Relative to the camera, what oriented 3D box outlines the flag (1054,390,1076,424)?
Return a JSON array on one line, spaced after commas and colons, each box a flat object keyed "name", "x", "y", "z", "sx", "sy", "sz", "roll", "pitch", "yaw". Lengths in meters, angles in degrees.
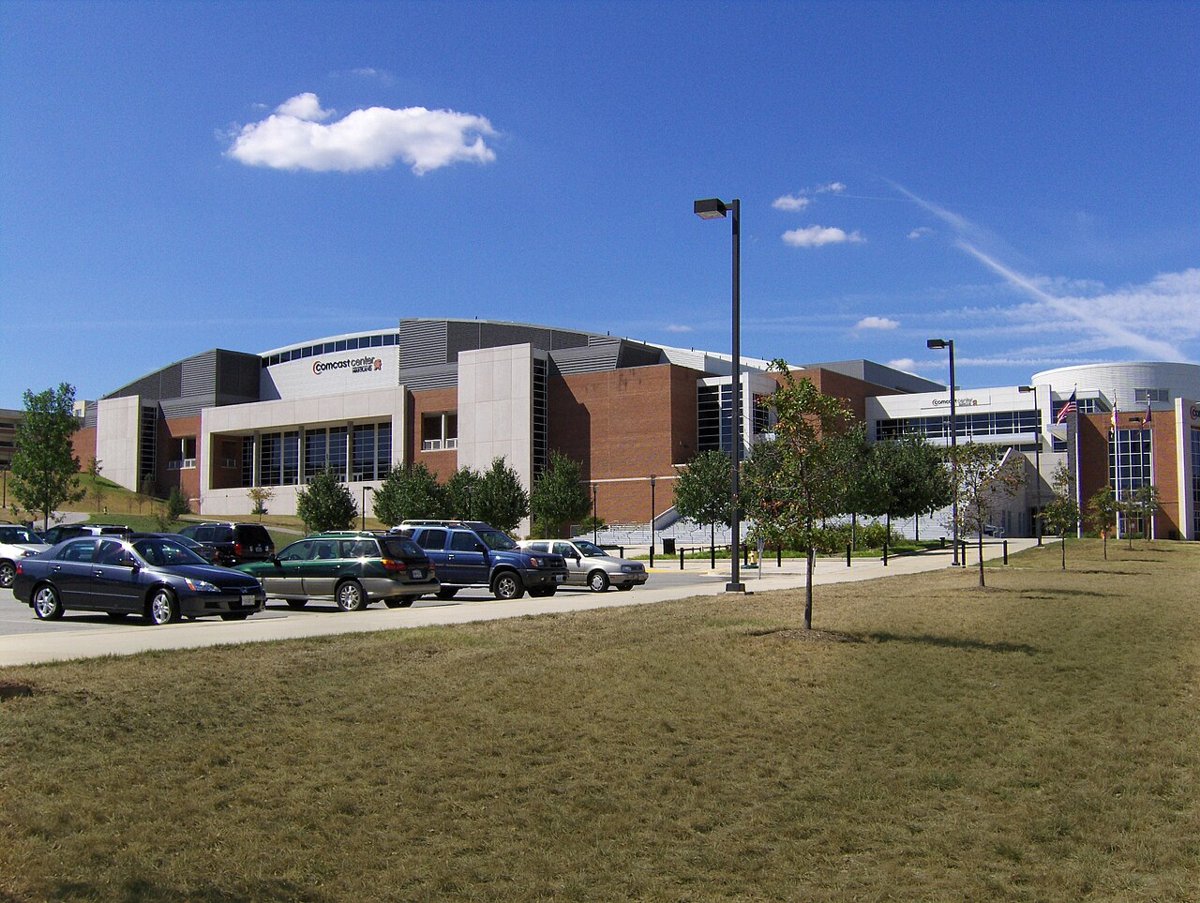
[{"name": "flag", "x": 30.721, "y": -2.740, "z": 83.781, "sx": 0.315, "sy": 1.151, "sz": 2.817, "roll": 36, "pitch": 22, "yaw": 8}]
